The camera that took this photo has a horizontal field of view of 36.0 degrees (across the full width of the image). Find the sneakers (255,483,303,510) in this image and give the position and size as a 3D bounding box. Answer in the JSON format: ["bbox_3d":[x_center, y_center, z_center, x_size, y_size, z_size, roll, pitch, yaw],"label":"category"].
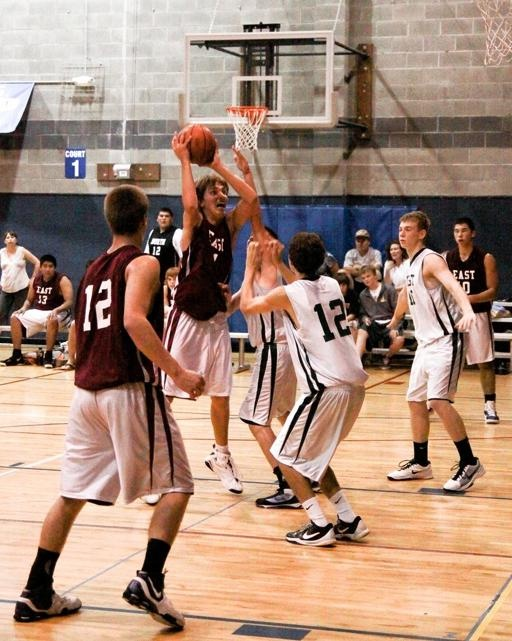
[{"bbox_3d":[0.152,0.916,4.142,0.287,0.200,0.113,2,-4,3],"label":"sneakers"}]

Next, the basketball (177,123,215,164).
[{"bbox_3d":[-0.293,-0.933,4.176,0.202,0.249,0.205,-1,3,-4],"label":"basketball"}]

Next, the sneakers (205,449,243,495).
[{"bbox_3d":[-0.185,0.872,4.476,0.258,0.118,0.086,46,11,7],"label":"sneakers"}]

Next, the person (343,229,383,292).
[{"bbox_3d":[1.440,-0.789,10.569,0.556,0.804,0.464,2,11,22],"label":"person"}]

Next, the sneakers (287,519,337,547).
[{"bbox_3d":[0.249,0.927,3.440,0.232,0.111,0.089,-1,-5,19],"label":"sneakers"}]

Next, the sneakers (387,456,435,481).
[{"bbox_3d":[0.915,0.890,4.720,0.309,0.141,0.110,0,0,-8],"label":"sneakers"}]

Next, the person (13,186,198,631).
[{"bbox_3d":[-0.431,0.269,2.469,0.543,1.390,0.407,3,6,27],"label":"person"}]

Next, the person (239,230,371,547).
[{"bbox_3d":[0.220,0.302,3.500,0.551,1.370,0.437,-1,6,-8],"label":"person"}]

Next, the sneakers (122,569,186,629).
[{"bbox_3d":[-0.288,0.847,2.383,0.087,0.113,0.253,-7,-37,30],"label":"sneakers"}]

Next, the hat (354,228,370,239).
[{"bbox_3d":[1.454,-1.185,10.713,0.211,0.112,0.304,1,-5,10],"label":"hat"}]

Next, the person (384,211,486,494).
[{"bbox_3d":[1.061,0.185,4.359,0.379,1.576,0.673,-2,6,-22],"label":"person"}]

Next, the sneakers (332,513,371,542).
[{"bbox_3d":[0.420,0.925,3.511,0.074,0.101,0.201,-6,0,-40],"label":"sneakers"}]

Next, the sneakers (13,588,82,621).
[{"bbox_3d":[-0.664,0.915,2.555,0.238,0.102,0.082,2,1,-41],"label":"sneakers"}]
